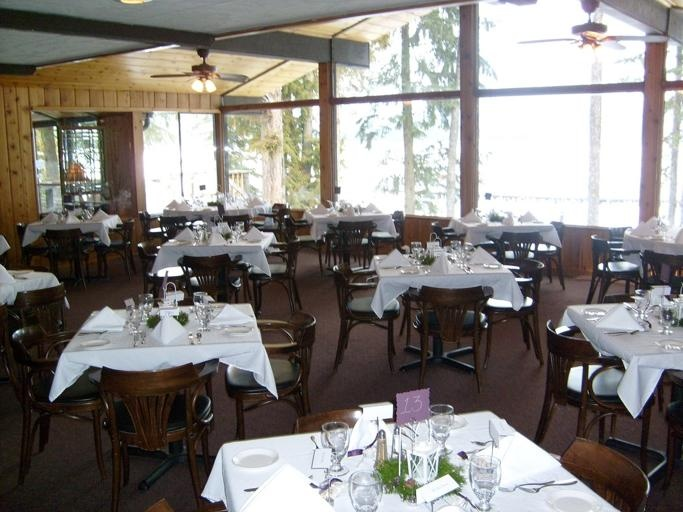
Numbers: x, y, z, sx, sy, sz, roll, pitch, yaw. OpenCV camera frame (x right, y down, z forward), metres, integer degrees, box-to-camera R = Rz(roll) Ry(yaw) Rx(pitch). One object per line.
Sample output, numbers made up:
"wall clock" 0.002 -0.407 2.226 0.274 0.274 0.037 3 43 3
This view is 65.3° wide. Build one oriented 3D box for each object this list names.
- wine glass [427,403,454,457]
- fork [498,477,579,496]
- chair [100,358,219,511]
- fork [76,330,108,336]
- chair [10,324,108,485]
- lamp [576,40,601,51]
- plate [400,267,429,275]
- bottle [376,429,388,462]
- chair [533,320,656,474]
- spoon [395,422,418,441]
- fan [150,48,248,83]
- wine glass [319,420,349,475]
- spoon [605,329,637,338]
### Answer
"wine glass" 0.450 0.779 2.390 0.159 0.278 0.179 -1 3 10
"fork" 0.821 0.964 2.218 0.330 0.055 0.050 -9 36 -2
"chair" -1.141 1.116 3.308 0.698 1.010 0.697 -1 20 -8
"fork" -1.736 0.541 3.724 0.255 0.028 0.032 1 -1 -7
"chair" -1.976 1.087 3.753 0.646 1.024 0.757 -2 16 -17
"lamp" 2.768 -2.341 5.911 0.182 0.054 0.187 -1 20 -17
"plate" 0.717 0.139 5.214 0.279 0.039 0.302 -2 8 13
"bottle" 0.172 0.821 2.316 0.049 0.109 0.129 -3 8 4
"chair" 1.639 0.899 3.396 0.609 0.997 0.739 -5 12 -11
"spoon" 0.286 0.786 2.439 0.127 0.038 0.133 1 20 1
"fan" -2.564 -3.350 9.318 1.147 0.505 1.224 19 29 33
"wine glass" -0.017 0.834 2.335 0.130 0.208 0.149 -5 8 -8
"spoon" 1.871 0.523 3.559 0.240 0.046 0.039 0 14 0
